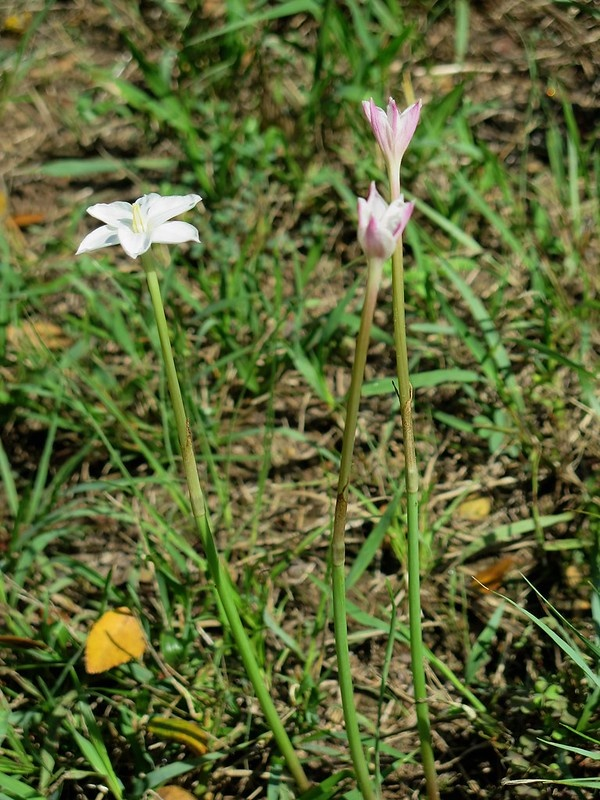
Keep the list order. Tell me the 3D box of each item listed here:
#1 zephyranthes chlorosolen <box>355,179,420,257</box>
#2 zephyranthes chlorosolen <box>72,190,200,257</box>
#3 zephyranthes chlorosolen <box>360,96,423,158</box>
[{"bbox_3d":[0.098,-0.202,0.840,0.065,0.088,0.076,10,4,14],"label":"zephyranthes chlorosolen"},{"bbox_3d":[-0.203,-0.233,0.937,0.103,0.050,0.116,-14,9,16],"label":"zephyranthes chlorosolen"},{"bbox_3d":[0.103,-0.335,0.927,0.076,0.080,0.068,-3,27,-9],"label":"zephyranthes chlorosolen"}]
